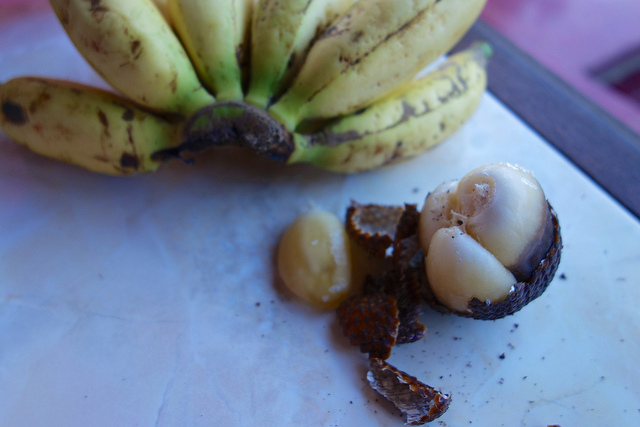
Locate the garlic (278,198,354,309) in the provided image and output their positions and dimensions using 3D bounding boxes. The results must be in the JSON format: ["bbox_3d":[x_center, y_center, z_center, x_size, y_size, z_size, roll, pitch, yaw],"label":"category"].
[{"bbox_3d":[-0.001,0.070,1.097,0.133,0.066,0.128,23,58,2],"label":"garlic"}]

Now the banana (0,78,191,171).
[{"bbox_3d":[-0.353,-0.130,1.136,0.276,0.102,0.163,21,85,-2],"label":"banana"}]
